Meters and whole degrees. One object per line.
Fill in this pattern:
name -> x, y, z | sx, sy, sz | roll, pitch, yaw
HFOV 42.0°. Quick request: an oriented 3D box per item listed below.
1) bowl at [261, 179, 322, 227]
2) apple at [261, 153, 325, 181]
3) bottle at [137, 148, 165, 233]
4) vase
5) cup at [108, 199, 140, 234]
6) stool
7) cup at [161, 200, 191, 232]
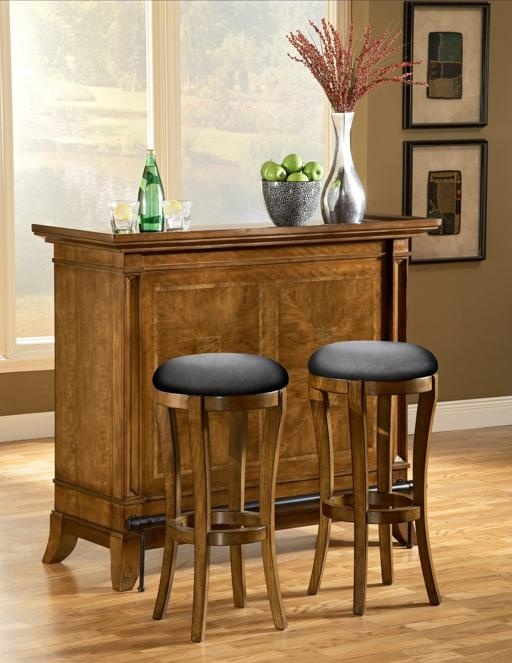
bowl -> 0.120, -0.410, 2.182 | 0.167, 0.124, 0.171 | 1, 3, 0
apple -> 0.108, -0.541, 2.171 | 0.135, 0.058, 0.130 | 1, -4, -13
bottle -> -0.296, -0.404, 1.916 | 0.076, 0.286, 0.189 | 0, -4, -10
vase -> 0.294, -0.543, 2.276 | 0.143, 0.388, 0.196 | -1, -4, 7
cup -> -0.397, -0.333, 1.942 | 0.103, 0.104, 0.100 | -1, 6, 0
stool -> 0.091, 0.430, 1.808 | 0.757, 0.641, 0.314 | -2, 5, -29
cup -> -0.227, -0.344, 1.987 | 0.083, 0.070, 0.091 | 1, -1, 17
